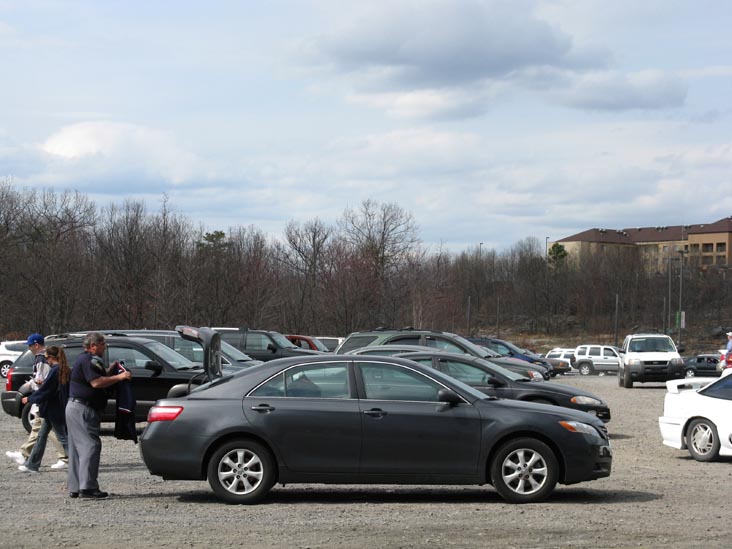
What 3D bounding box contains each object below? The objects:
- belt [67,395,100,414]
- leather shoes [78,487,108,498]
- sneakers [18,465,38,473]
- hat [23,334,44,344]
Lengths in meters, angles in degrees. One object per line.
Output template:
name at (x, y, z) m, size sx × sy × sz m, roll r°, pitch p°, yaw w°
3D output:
belt at (-4.953, 2.263, 21.676) m, size 0.367 × 0.102 × 0.361 m, roll 7°, pitch -12°, yaw 32°
leather shoes at (-4.758, 3.818, 21.542) m, size 0.505 × 0.194 × 0.178 m, roll -1°, pitch 0°, yaw -4°
sneakers at (-6.427, 3.702, 23.475) m, size 0.365 × 0.155 × 0.140 m, roll 17°, pitch 2°, yaw 10°
hat at (-6.611, 1.324, 24.395) m, size 0.359 × 0.193 × 0.246 m, roll 2°, pitch 14°, yaw 24°
